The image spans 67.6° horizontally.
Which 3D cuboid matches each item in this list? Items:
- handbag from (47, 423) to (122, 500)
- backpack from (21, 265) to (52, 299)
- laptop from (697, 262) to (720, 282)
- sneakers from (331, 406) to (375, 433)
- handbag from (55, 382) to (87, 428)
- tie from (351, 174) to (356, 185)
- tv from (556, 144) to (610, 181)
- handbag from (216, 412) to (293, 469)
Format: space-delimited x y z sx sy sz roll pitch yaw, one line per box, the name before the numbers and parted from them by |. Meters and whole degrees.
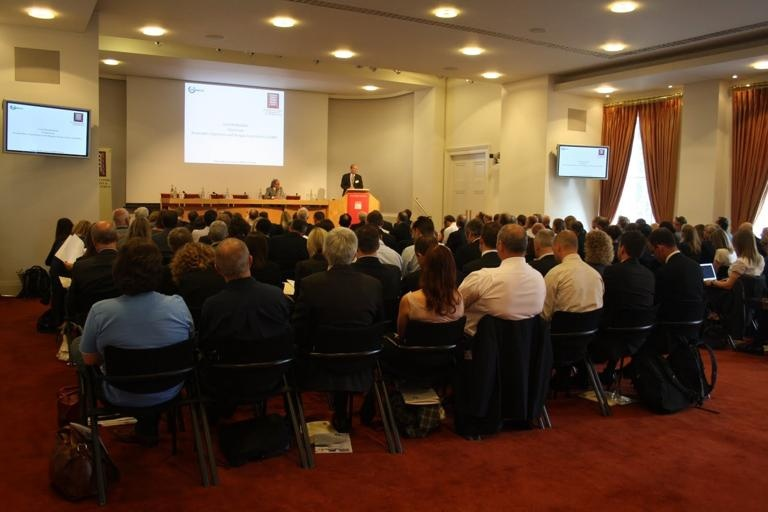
handbag | -2.445 1.597 4.584 0.652 0.542 0.358 1 -2 38
backpack | -5.729 0.458 9.412 0.474 0.549 0.275 3 12 -5
laptop | 4.161 0.215 7.310 0.222 0.162 0.165 -5 -7 -10
sneakers | -0.268 1.517 5.407 0.162 0.236 0.523 0 3 27
handbag | -2.908 1.346 5.313 0.260 0.367 0.192 4 0 -24
tie | -0.790 -1.943 14.820 0.121 0.182 0.129 1 12 -1
tv | 4.371 -2.050 12.604 1.380 0.703 0.379 -6 13 -28
handbag | -1.094 1.543 4.865 0.458 0.151 0.358 -6 14 -22
